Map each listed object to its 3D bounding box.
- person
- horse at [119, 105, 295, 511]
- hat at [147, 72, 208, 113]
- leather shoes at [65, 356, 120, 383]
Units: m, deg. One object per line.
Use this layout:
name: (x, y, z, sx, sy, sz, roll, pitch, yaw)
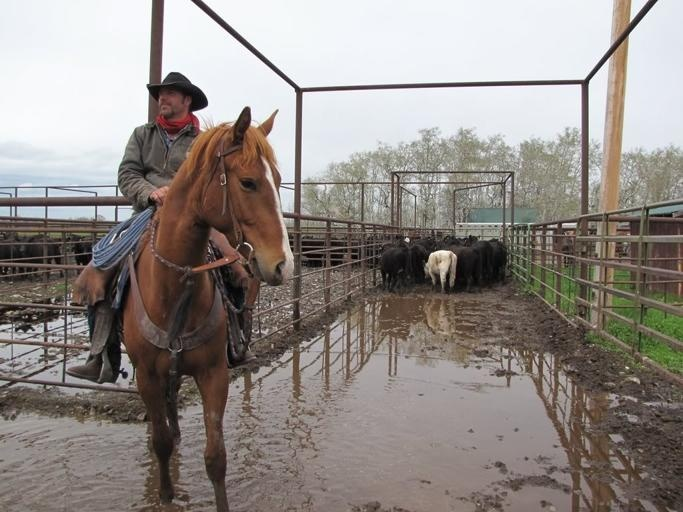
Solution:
person: (-1.309, -0.206, 3.665, 1.310, 2.307, 1.032, 4, 3, 12)
horse: (-0.821, 0.425, 2.971, 1.307, 2.489, 0.396, 3, 5, 38)
hat: (-1.201, -1.261, 3.616, 0.331, 0.178, 0.441, -8, 5, -6)
leather shoes: (-1.777, 0.809, 3.526, 0.384, 0.210, 0.147, 1, 4, 16)
